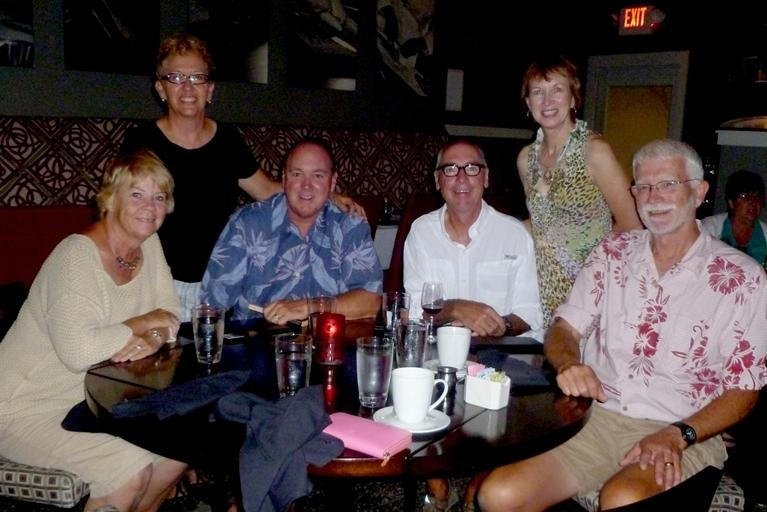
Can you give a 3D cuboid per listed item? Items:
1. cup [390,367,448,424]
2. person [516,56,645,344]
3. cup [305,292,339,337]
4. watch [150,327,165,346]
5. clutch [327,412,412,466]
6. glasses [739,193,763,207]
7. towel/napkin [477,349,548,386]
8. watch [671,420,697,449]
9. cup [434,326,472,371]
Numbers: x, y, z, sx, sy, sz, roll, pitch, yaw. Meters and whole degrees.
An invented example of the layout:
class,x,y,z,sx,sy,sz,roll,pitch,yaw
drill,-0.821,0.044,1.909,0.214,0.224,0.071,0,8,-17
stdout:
class,x,y,z,sx,sy,sz,roll,pitch,yaw
cup,0.135,0.473,2.072,0.239,0.171,0.123,-3,5,-39
person,1.153,-0.210,3.788,0.562,2.115,0.759,-29,37,-30
cup,-0.268,0.244,2.588,0.152,0.156,0.147,1,-5,0
watch,-0.956,0.335,2.541,0.062,0.016,0.059,18,25,-43
clutch,-0.066,0.581,1.931,0.216,0.035,0.129,12,18,27
glasses,2.887,-0.422,4.701,0.123,0.034,0.116,10,-6,23
towel/napkin,0.525,0.445,2.403,0.147,0.037,0.147,4,12,-41
watch,1.184,0.701,2.355,0.068,0.097,0.094,-14,-20,-33
cup,0.267,0.358,2.328,0.167,0.174,0.161,1,-2,0
